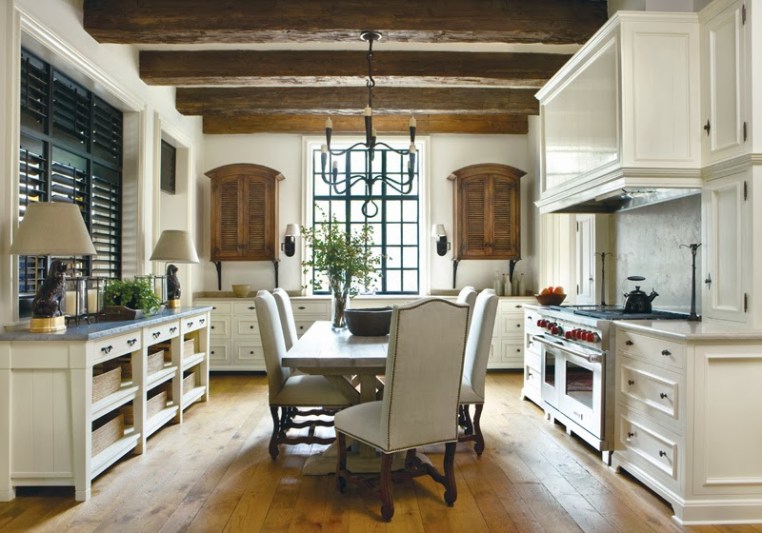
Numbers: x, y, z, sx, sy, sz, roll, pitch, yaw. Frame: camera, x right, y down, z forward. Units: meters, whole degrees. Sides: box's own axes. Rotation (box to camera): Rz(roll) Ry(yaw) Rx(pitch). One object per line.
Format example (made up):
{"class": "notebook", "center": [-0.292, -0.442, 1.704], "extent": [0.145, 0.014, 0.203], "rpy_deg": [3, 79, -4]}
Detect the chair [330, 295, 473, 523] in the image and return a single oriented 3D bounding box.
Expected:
{"class": "chair", "center": [-0.023, 0.969, 5.307], "extent": [0.987, 0.968, 1.912], "rpy_deg": [0, 9, 8]}

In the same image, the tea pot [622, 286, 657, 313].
{"class": "tea pot", "center": [2.064, 0.265, 5.170], "extent": [0.244, 0.194, 0.197], "rpy_deg": [-1, -3, 18]}

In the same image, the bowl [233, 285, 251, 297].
{"class": "bowl", "center": [-1.619, 0.282, 7.411], "extent": [0.146, 0.098, 0.145], "rpy_deg": [-1, -7, 0]}

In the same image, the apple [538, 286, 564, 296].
{"class": "apple", "center": [1.581, 0.235, 5.998], "extent": [0.153, 0.085, 0.160], "rpy_deg": [-3, -7, 13]}

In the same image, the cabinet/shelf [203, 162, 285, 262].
{"class": "cabinet/shelf", "center": [-1.610, -0.612, 7.488], "extent": [1.083, 1.475, 0.507], "rpy_deg": [0, -5, -5]}

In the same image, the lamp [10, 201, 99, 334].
{"class": "lamp", "center": [-2.328, 0.002, 4.525], "extent": [0.539, 0.897, 0.345], "rpy_deg": [1, 9, 11]}

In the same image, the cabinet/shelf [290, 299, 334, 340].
{"class": "cabinet/shelf", "center": [-0.752, 0.674, 7.510], "extent": [0.622, 0.642, 0.362], "rpy_deg": [0, -2, 0]}

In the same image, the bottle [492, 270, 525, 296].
{"class": "bottle", "center": [1.517, 0.210, 7.644], "extent": [0.360, 0.239, 0.427], "rpy_deg": [2, 10, 14]}
